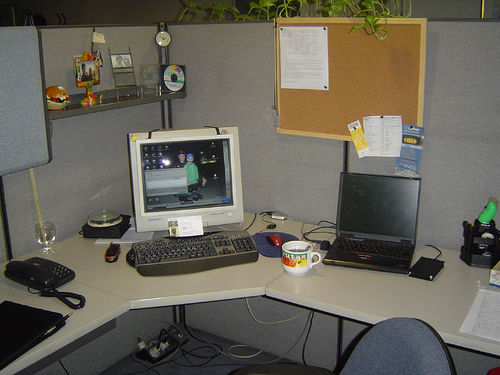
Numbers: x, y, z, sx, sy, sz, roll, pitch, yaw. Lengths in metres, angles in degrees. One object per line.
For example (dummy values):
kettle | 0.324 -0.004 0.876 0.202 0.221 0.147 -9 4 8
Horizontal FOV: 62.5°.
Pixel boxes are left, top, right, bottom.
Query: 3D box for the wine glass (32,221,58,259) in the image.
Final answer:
wine glass | -0.958 0.233 1.919 0.092 0.143 0.083 -6 5 -20

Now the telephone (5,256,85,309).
telephone | -0.796 0.407 1.623 0.308 0.065 0.170 17 12 11

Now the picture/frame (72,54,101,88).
picture/frame | -0.767 -0.540 1.907 0.020 0.152 0.142 10 24 29

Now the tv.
tv | -0.292 -0.011 2.067 0.511 0.486 0.328 -8 -19 3

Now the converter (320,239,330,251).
converter | 0.343 0.267 1.895 0.038 0.022 0.047 8 24 16

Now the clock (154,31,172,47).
clock | -0.482 -0.821 2.285 0.094 0.082 0.049 -5 18 -7

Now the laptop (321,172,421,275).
laptop | 0.568 0.122 1.894 0.417 0.325 0.445 7 30 20

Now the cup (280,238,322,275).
cup | 0.212 0.315 1.732 0.164 0.111 0.129 4 8 40

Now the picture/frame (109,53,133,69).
picture/frame | -0.641 -0.644 2.105 0.065 0.077 0.173 4 19 20
